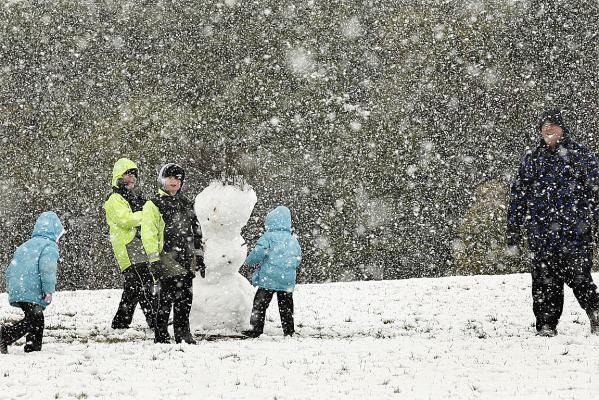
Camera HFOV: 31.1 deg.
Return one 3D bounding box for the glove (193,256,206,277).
[{"bbox_3d":[-3.587,2.334,38.876,0.309,0.533,0.644,2,81,4],"label":"glove"}]
